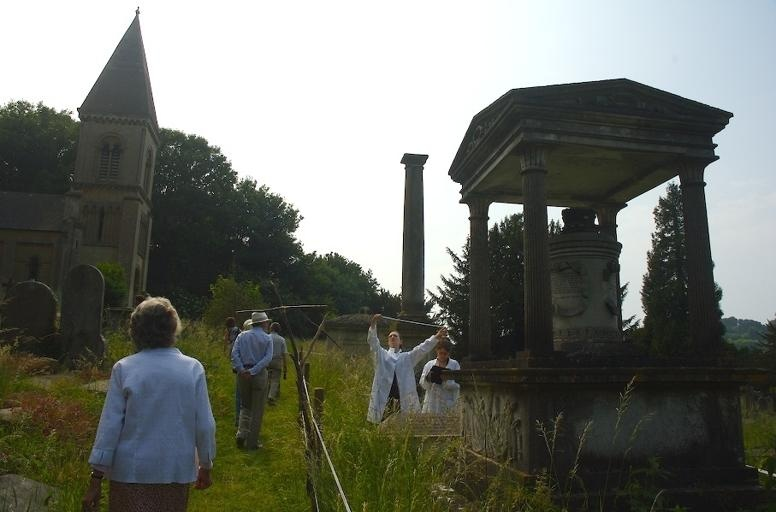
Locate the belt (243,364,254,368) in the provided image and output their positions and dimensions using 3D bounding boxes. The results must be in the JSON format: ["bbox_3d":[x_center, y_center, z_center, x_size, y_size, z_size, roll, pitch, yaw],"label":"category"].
[{"bbox_3d":[-2.884,2.277,15.635,0.220,0.101,0.122,-4,-12,33],"label":"belt"}]
